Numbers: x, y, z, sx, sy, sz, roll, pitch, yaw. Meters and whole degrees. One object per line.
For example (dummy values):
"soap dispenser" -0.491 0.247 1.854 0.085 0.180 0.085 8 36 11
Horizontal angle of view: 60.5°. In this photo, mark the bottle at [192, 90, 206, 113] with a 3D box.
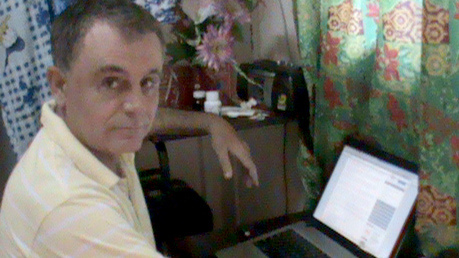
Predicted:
"bottle" -0.174 -0.159 2.265 0.076 0.106 0.160 -2 12 -7

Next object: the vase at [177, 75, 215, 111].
"vase" -0.230 -0.212 2.439 0.197 0.227 0.236 1 2 37

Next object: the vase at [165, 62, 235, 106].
"vase" -0.132 -0.247 2.546 0.471 0.329 0.270 -3 1 24

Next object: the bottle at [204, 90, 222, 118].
"bottle" -0.084 -0.135 2.163 0.100 0.133 0.109 -1 12 0
